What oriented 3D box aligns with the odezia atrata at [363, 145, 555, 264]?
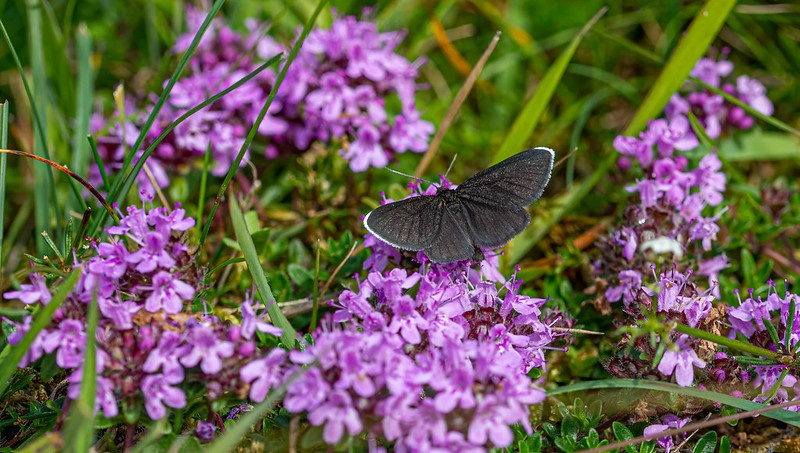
[{"bbox_3d":[0.487,-0.135,5.802,1.752,0.517,0.780,-19,75,-4],"label":"odezia atrata"}]
